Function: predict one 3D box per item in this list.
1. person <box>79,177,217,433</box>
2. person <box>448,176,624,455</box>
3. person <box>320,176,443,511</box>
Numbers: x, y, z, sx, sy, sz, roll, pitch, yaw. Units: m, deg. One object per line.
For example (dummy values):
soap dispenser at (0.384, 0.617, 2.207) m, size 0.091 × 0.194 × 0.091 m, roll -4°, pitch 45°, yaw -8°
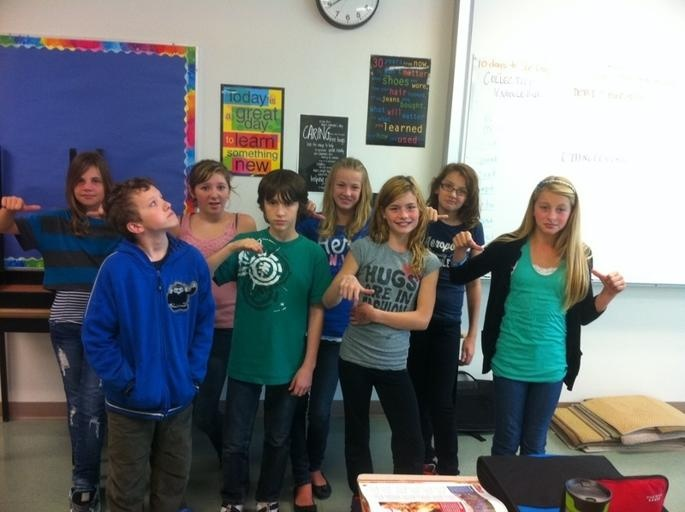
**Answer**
person at (-0.911, 0.208, 2.770) m, size 0.588 × 1.109 × 0.335 m, roll 0°, pitch 14°, yaw -12°
person at (0.988, 0.324, 3.070) m, size 0.822 × 1.455 × 0.455 m, roll 9°, pitch 15°, yaw 25°
person at (0.231, 0.444, 3.075) m, size 0.574 × 1.693 × 0.574 m, roll 11°, pitch 16°, yaw 31°
